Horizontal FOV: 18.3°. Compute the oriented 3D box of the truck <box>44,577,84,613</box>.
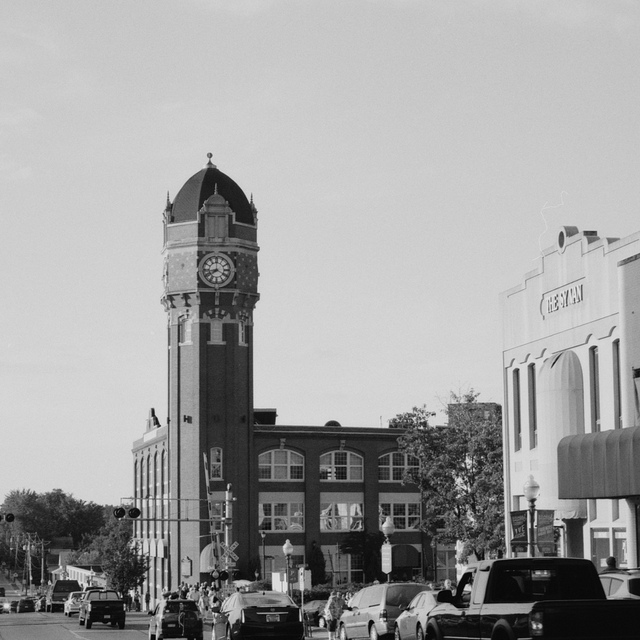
[{"bbox_3d":[-13.326,14.235,104.181,1.710,1.648,3.912,0,-5,-8],"label":"truck"}]

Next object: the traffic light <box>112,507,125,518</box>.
[{"bbox_3d":[-9.034,8.779,90.641,0.356,0.289,0.475,1,0,2],"label":"traffic light"}]

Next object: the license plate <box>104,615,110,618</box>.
[{"bbox_3d":[-8.407,11.823,79.366,0.198,0.099,0.074,0,-13,-8],"label":"license plate"}]

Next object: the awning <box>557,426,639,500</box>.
[{"bbox_3d":[9.916,4.521,69.980,3.118,1.877,2.260,-11,-17,43],"label":"awning"}]

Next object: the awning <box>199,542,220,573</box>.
[{"bbox_3d":[-6.104,13.142,109.630,0.600,1.550,3.066,1,-14,-9],"label":"awning"}]

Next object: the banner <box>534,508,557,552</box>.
[{"bbox_3d":[7.616,7.060,67.119,0.881,1.841,0.157,-3,18,-3],"label":"banner"}]

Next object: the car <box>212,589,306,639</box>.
[{"bbox_3d":[-1.980,8.935,60.445,2.827,1.534,1.581,-11,-16,33],"label":"car"}]

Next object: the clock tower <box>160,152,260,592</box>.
[{"bbox_3d":[-6.026,2.259,113.960,4.924,24.241,3.008,-1,-12,-3],"label":"clock tower"}]

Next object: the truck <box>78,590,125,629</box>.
[{"bbox_3d":[-8.655,11.658,80.216,1.602,1.707,2.281,2,-14,-15],"label":"truck"}]
